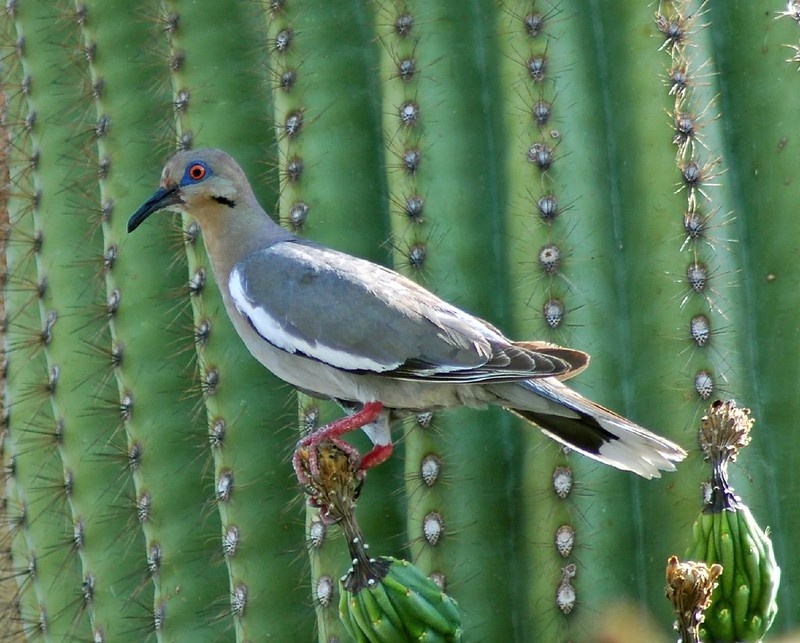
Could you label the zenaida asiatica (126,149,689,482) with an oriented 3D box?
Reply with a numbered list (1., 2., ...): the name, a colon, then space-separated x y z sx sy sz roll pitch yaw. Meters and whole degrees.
1. zenaida asiatica: 0.020 -0.036 5.822 2.224 1.342 0.694 0 -5 7
